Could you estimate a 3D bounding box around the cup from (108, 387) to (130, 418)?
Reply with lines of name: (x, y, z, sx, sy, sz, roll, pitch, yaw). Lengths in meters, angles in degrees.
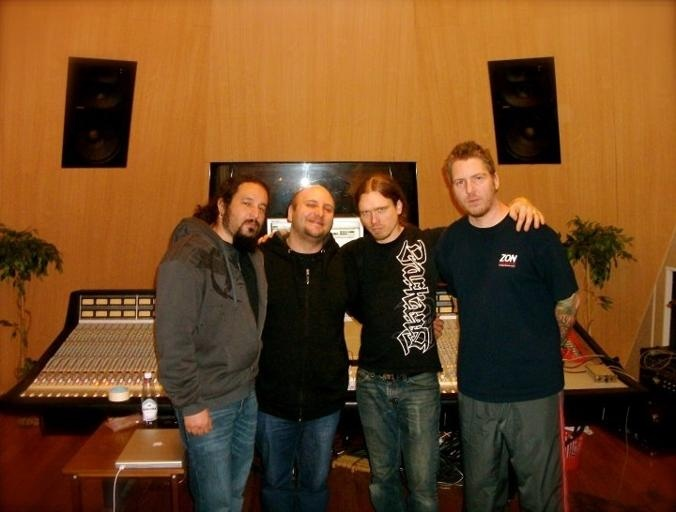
cup: (-1.406, 0.907, 3.827, 0.101, 0.060, 0.103, 6, 7, -1)

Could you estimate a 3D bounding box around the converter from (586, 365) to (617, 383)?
converter: (1.759, 0.782, 3.979, 0.095, 0.031, 0.129, 0, 16, 5)
